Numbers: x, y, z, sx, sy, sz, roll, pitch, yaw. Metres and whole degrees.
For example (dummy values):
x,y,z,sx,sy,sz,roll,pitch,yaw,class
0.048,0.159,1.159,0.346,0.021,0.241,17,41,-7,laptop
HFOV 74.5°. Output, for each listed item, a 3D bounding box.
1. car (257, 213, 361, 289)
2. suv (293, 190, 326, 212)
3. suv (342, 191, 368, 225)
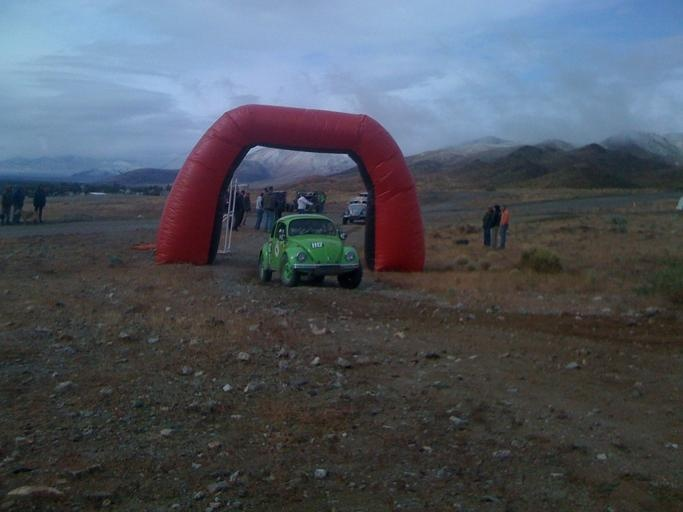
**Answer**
x,y,z,sx,sy,sz,roll,pitch,yaw,class
-1.023,-0.188,12.418,1.610,1.354,2.777,1,0,-17,car
-2.911,-4.556,38.764,2.347,1.942,3.952,-3,7,2,suv
1.060,-3.464,34.995,1.626,1.474,3.167,1,5,3,suv
